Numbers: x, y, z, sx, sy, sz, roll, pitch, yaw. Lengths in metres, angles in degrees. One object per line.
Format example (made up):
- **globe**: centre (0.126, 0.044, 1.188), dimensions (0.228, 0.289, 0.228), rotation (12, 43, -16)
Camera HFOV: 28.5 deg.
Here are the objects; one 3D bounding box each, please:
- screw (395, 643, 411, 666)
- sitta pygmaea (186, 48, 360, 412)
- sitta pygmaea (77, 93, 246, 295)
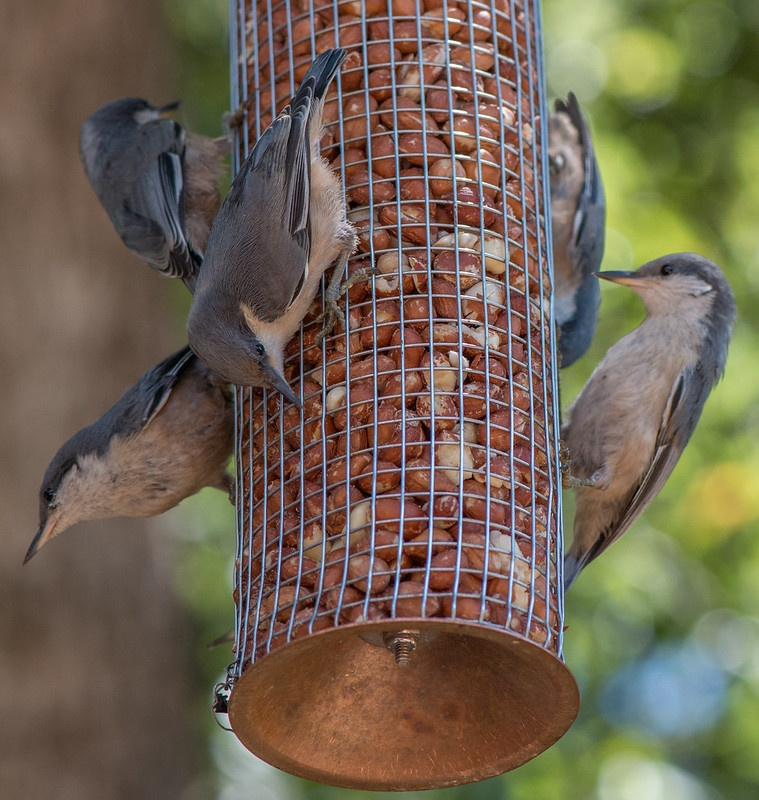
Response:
- **screw**: centre (0.062, 0.672, 3.979), dimensions (0.036, 0.039, 0.056), rotation (-16, 48, 16)
- **sitta pygmaea**: centre (-0.329, -0.465, 4.528), dimensions (0.546, 1.153, 0.434), rotation (-9, 22, -36)
- **sitta pygmaea**: centre (-0.865, -0.726, 5.398), dimensions (0.382, 0.451, 0.830), rotation (-22, 59, 18)
